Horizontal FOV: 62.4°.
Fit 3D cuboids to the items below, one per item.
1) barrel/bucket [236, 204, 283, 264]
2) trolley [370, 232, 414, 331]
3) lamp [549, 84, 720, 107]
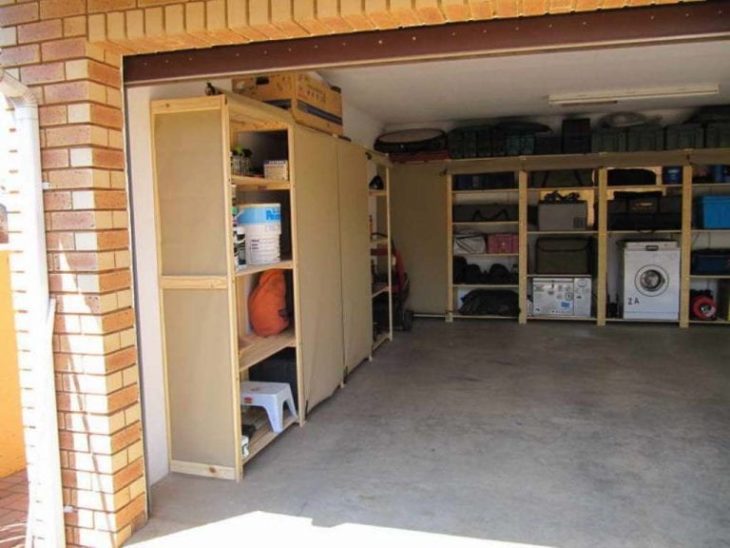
[{"bbox_3d":[-0.774,-0.290,4.435,0.438,0.416,0.413,0,4,0],"label":"barrel/bucket"},{"bbox_3d":[0.302,0.163,7.970,0.876,1.154,0.941,3,-6,-9],"label":"trolley"},{"bbox_3d":[3.232,-2.184,7.344,1.958,0.132,0.471,1,10,14],"label":"lamp"}]
